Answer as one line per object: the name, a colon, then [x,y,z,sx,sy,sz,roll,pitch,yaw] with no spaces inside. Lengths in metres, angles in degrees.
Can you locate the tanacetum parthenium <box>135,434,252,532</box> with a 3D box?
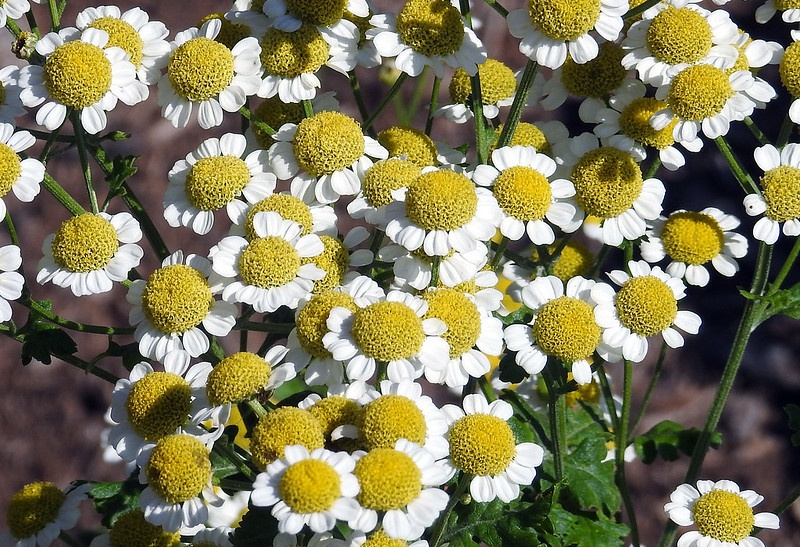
tanacetum parthenium: [-0.769,0.719,2.962,0.275,0.384,0.317,-10,85,-1]

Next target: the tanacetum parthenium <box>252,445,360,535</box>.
tanacetum parthenium: [-0.293,0.666,2.630,0.332,0.085,0.254,-1,85,-1]

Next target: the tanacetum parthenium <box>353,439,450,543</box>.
tanacetum parthenium: [-0.014,0.692,2.703,0.327,0.169,0.317,18,85,1]

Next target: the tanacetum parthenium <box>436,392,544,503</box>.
tanacetum parthenium: [0.289,0.592,2.916,0.384,0.386,0.157,40,123,25]
